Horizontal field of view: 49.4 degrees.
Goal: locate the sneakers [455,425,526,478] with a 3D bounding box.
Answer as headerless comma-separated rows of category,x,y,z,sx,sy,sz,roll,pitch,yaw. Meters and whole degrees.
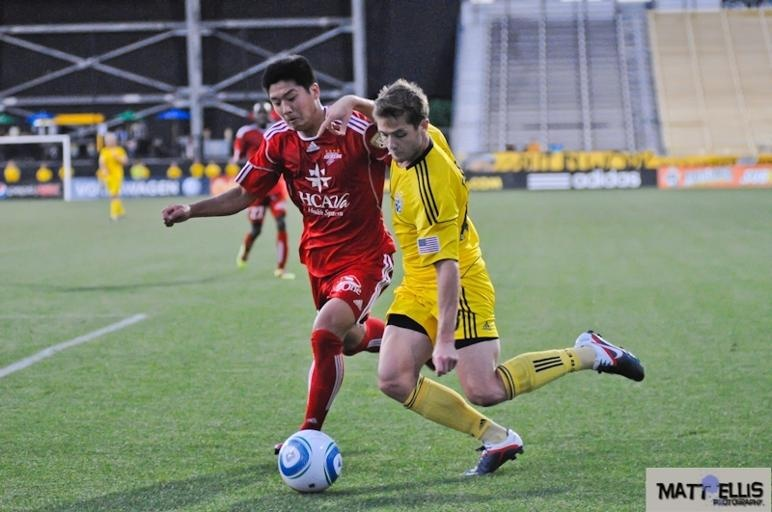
sneakers,0.737,1.291,5.609,0.539,0.236,0.180,-31,5,0

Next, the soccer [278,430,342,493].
soccer,-0.489,1.296,5.348,0.355,0.338,0.366,-6,-12,30

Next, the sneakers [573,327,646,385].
sneakers,1.731,0.783,6.478,0.499,0.171,0.227,34,42,7
